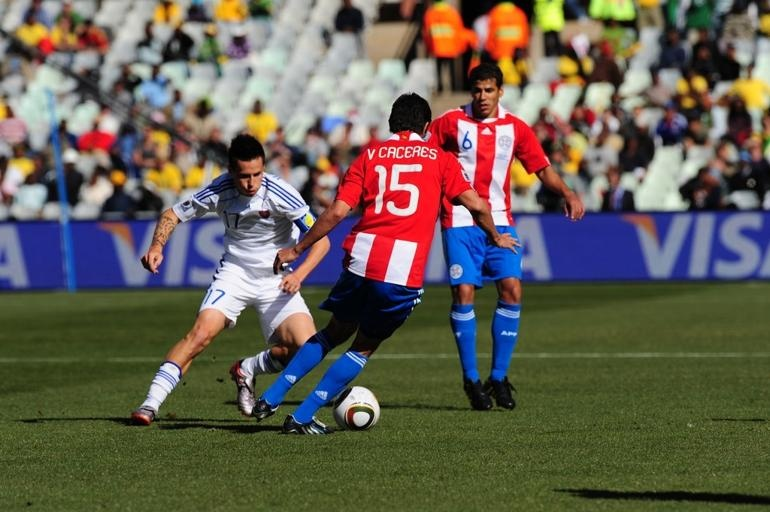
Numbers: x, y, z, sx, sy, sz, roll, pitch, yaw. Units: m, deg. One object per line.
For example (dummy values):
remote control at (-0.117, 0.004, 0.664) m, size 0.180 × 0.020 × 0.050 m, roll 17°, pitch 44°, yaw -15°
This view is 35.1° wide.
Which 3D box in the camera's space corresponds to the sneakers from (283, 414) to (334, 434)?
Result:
sneakers at (-0.731, 1.623, 11.641) m, size 0.489 × 0.179 × 0.173 m, roll 1°, pitch -1°, yaw -6°

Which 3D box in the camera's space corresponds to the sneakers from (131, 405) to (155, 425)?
sneakers at (-2.320, 1.553, 11.721) m, size 0.227 × 0.230 × 0.300 m, roll -3°, pitch 10°, yaw -14°

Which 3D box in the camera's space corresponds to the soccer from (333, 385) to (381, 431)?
soccer at (-0.266, 1.463, 11.791) m, size 0.420 × 0.411 × 0.400 m, roll 1°, pitch 4°, yaw 2°
